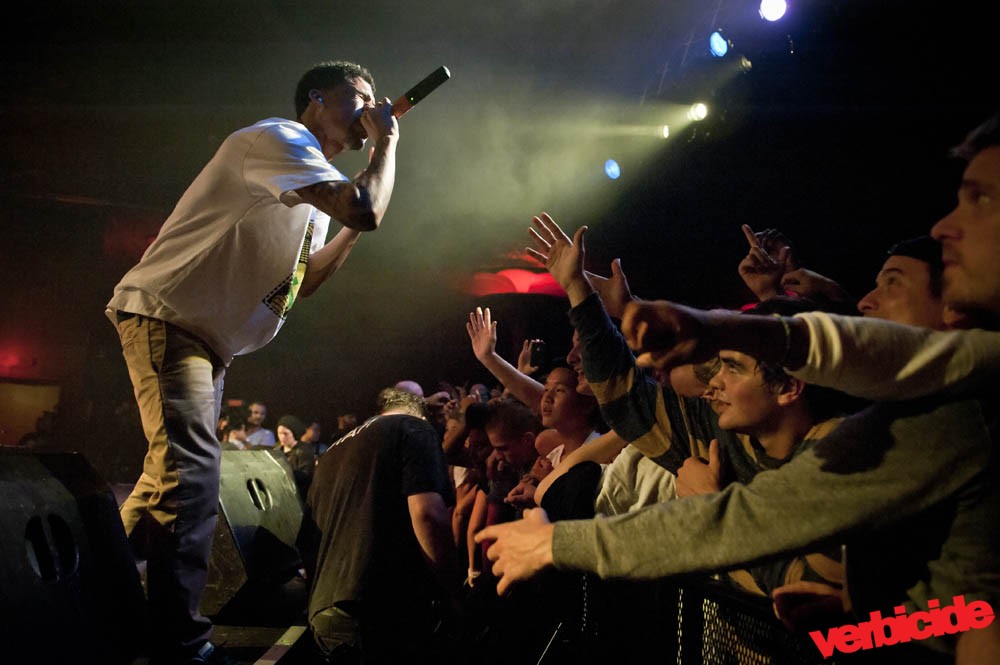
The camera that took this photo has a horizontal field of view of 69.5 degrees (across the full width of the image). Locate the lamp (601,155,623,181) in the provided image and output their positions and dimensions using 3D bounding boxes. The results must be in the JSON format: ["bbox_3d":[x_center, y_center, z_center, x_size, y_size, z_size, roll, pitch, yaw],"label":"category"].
[{"bbox_3d":[0.994,-1.459,6.409,0.145,0.180,0.041,-9,5,22],"label":"lamp"}]

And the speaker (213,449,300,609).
[{"bbox_3d":[-1.266,1.041,3.719,0.226,0.724,0.643,-25,-33,9],"label":"speaker"}]

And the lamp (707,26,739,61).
[{"bbox_3d":[1.636,-2.132,5.312,0.199,0.210,0.057,-7,-5,32],"label":"lamp"}]
